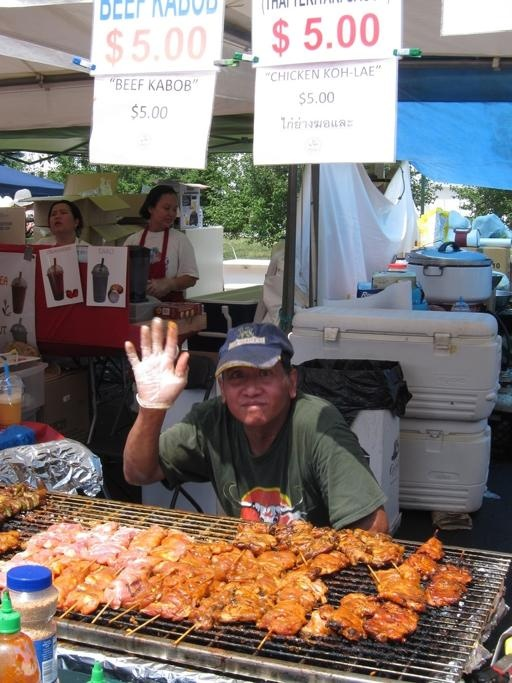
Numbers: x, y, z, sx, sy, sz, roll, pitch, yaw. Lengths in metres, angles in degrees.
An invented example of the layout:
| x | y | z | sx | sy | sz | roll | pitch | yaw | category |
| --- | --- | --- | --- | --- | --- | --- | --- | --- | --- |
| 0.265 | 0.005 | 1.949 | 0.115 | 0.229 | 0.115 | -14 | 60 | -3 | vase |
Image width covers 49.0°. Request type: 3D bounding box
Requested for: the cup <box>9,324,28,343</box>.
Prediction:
| x | y | z | sx | sy | sz | roll | pitch | yaw | category |
| --- | --- | --- | --- | --- | --- | --- | --- | --- | --- |
| -2.348 | -0.084 | 5.588 | 0.158 | 0.189 | 0.201 | 0 | 9 | -7 | cup |

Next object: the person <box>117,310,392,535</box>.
| x | y | z | sx | sy | sz | roll | pitch | yaw | category |
| --- | --- | --- | --- | --- | --- | --- | --- | --- | --- |
| 0.004 | 0.316 | 2.370 | 0.712 | 1.118 | 0.700 | 1 | 7 | 7 | person |

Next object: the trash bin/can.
| x | y | z | sx | sy | sz | roll | pitch | yaw | category |
| --- | --- | --- | --- | --- | --- | --- | --- | --- | --- |
| 0.851 | 0.812 | 4.614 | 0.819 | 1.309 | 0.973 | 3 | 10 | 14 | trash bin/can |

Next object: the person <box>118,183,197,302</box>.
| x | y | z | sx | sy | sz | roll | pitch | yaw | category |
| --- | --- | --- | --- | --- | --- | --- | --- | --- | --- |
| -1.056 | -1.020 | 6.330 | 0.745 | 1.463 | 0.693 | -3 | 18 | -20 | person |

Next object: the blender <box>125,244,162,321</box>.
| x | y | z | sx | sy | sz | roll | pitch | yaw | category |
| --- | --- | --- | --- | --- | --- | --- | --- | --- | --- |
| -1.216 | -0.578 | 5.549 | 0.550 | 0.695 | 0.540 | -8 | 15 | -33 | blender |

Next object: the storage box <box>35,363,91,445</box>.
| x | y | z | sx | sy | sz | roll | pitch | yaw | category |
| --- | --- | --- | --- | --- | --- | --- | --- | --- | --- |
| -2.037 | 0.695 | 5.953 | 0.292 | 0.835 | 0.748 | 0 | 7 | 14 | storage box |

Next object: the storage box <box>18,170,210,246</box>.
| x | y | z | sx | sy | sz | roll | pitch | yaw | category |
| --- | --- | --- | --- | --- | --- | --- | --- | --- | --- |
| -2.287 | -2.060 | 8.727 | 1.957 | 1.223 | 1.975 | 4 | 8 | 38 | storage box |
